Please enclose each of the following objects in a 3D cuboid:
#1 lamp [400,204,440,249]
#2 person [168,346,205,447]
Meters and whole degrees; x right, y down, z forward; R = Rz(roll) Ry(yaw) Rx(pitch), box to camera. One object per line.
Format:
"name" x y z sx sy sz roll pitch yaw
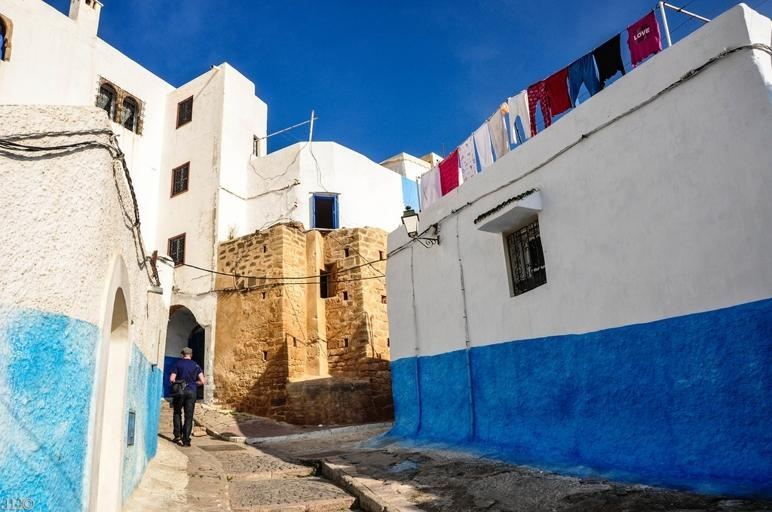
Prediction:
"lamp" 0.636 -0.594 10.180 0.658 0.903 0.376 -7 -13 -6
"person" -3.938 2.756 10.094 0.551 1.859 1.223 2 -12 -21
